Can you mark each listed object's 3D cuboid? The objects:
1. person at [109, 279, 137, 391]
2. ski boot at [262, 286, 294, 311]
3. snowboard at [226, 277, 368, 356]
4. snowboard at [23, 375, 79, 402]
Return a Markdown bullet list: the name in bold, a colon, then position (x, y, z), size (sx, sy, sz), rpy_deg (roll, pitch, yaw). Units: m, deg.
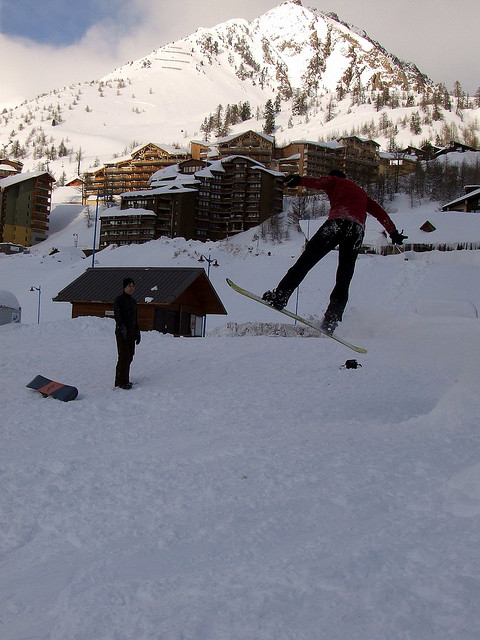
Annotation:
- **person**: position (-1.498, 0.168, 7.791), size (0.266, 1.374, 0.830), rpy_deg (-3, 8, -10)
- **ski boot**: position (0.440, -0.254, 7.014), size (0.326, 0.311, 0.360), rpy_deg (-1, 8, 2)
- **snowboard**: position (1.686, -0.177, 16.955), size (4.840, 0.336, 0.675), rpy_deg (29, 0, -2)
- **snowboard**: position (-2.251, 0.833, 7.226), size (0.846, 0.205, 0.326), rpy_deg (6, 11, 43)
